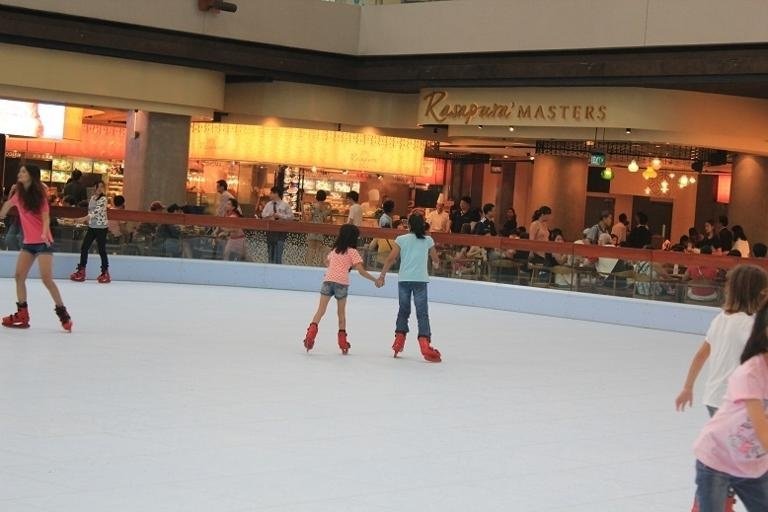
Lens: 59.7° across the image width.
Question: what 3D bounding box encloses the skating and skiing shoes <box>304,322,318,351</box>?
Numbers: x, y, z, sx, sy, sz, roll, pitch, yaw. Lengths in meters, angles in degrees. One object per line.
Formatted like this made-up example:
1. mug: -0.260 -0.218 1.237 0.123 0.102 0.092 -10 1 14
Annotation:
1. skating and skiing shoes: -0.947 1.054 8.640 0.141 0.376 0.184 16 -4 -4

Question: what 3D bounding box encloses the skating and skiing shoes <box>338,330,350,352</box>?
1. skating and skiing shoes: -0.508 1.080 8.568 0.155 0.275 0.295 -1 10 11

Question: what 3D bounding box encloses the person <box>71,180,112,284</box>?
1. person: -5.677 -0.477 13.004 0.731 1.950 0.795 4 5 -2

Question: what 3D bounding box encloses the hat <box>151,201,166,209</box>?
1. hat: -4.927 -1.110 14.647 0.233 0.159 0.318 10 13 42

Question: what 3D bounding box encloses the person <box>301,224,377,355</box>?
1. person: -0.585 0.424 8.576 0.814 1.649 0.521 3 5 -11

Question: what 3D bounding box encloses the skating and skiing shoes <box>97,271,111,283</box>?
1. skating and skiing shoes: -5.467 0.423 13.081 0.276 0.258 0.159 5 2 1

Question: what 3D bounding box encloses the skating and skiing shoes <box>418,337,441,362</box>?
1. skating and skiing shoes: 0.586 1.228 8.758 0.184 0.115 0.295 4 26 -19
